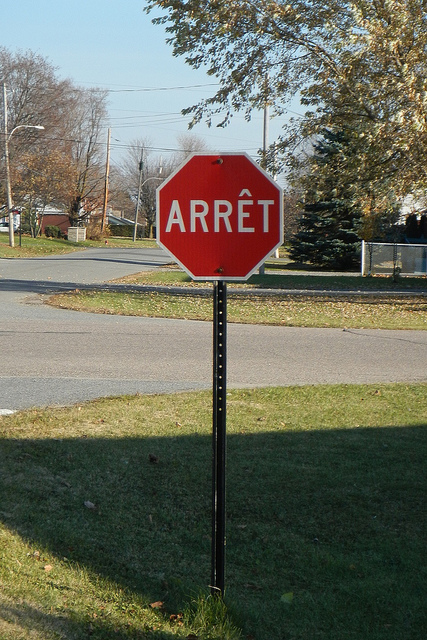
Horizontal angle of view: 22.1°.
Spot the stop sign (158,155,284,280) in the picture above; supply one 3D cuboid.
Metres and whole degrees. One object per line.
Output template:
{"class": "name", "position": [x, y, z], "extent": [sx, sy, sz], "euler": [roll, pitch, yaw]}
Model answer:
{"class": "stop sign", "position": [0.034, -0.593, 6.127], "extent": [0.701, 0.746, 0.075], "euler": [-1, -14, 0]}
